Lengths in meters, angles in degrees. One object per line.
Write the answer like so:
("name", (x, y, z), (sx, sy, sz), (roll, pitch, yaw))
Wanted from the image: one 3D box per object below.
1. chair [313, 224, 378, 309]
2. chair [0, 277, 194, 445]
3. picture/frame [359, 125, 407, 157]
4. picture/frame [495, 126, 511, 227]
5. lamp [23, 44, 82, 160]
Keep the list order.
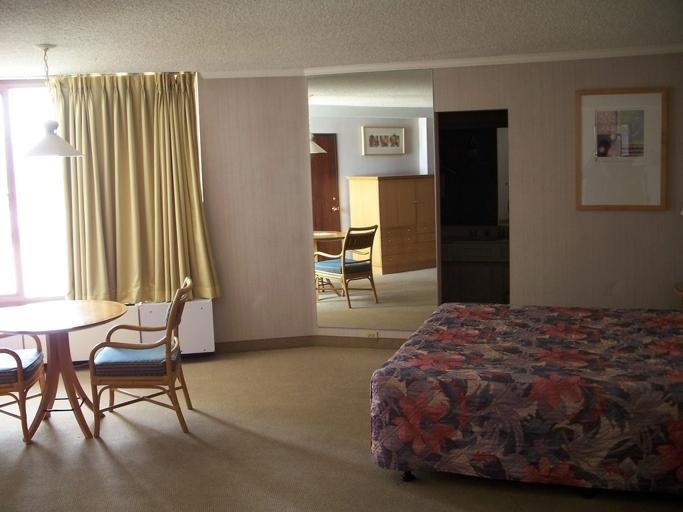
("chair", (0.064, 0.081, 5.681), (0.504, 0.804, 0.594), (-7, 8, -44))
("chair", (-1.837, 0.747, 4.145), (1.443, 1.082, 0.871), (-2, 11, 4))
("picture/frame", (0.434, -1.147, 5.273), (0.355, 0.240, 0.034), (0, -1, 9))
("picture/frame", (1.575, -0.919, 5.279), (0.060, 0.786, 0.168), (-10, 15, -22))
("lamp", (-2.488, -1.293, 4.585), (0.394, 0.875, 1.478), (-7, 12, -24))
